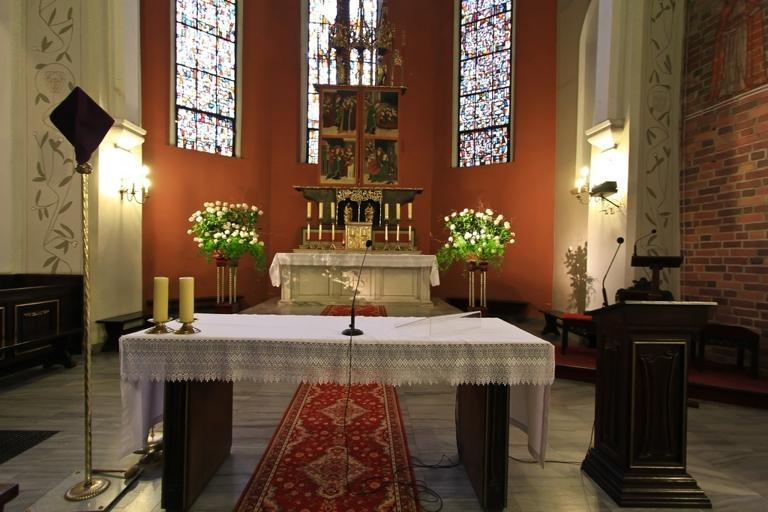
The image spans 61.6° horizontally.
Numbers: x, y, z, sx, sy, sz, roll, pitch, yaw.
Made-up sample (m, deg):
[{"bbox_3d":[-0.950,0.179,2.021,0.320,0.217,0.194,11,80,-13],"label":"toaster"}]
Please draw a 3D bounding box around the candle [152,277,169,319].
[{"bbox_3d":[-2.274,0.453,6.574,0.131,0.378,0.181,-2,-1,-26],"label":"candle"}]

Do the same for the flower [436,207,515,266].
[{"bbox_3d":[1.604,-0.336,11.300,1.382,1.055,1.139,0,3,-10],"label":"flower"}]

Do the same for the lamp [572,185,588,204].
[{"bbox_3d":[3.269,-1.042,10.803,0.306,0.331,0.315,-1,-5,23],"label":"lamp"}]

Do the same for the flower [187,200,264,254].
[{"bbox_3d":[-2.791,-0.449,11.177,1.085,0.835,1.138,8,-3,-36],"label":"flower"}]

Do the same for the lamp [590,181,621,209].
[{"bbox_3d":[3.304,-0.901,9.805,0.270,0.411,0.594,-2,-1,-7],"label":"lamp"}]

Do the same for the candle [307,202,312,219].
[{"bbox_3d":[-1.330,-0.813,11.374,0.065,0.276,0.407,-2,-1,-9],"label":"candle"}]

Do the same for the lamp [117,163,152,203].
[{"bbox_3d":[-4.181,-1.166,10.876,0.518,0.824,0.643,0,-3,13],"label":"lamp"}]

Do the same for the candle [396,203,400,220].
[{"bbox_3d":[0.244,-0.812,11.794,0.075,0.288,0.174,-2,-1,6],"label":"candle"}]

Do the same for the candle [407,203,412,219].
[{"bbox_3d":[0.462,-0.795,11.627,0.043,0.280,0.253,-2,-1,10],"label":"candle"}]
